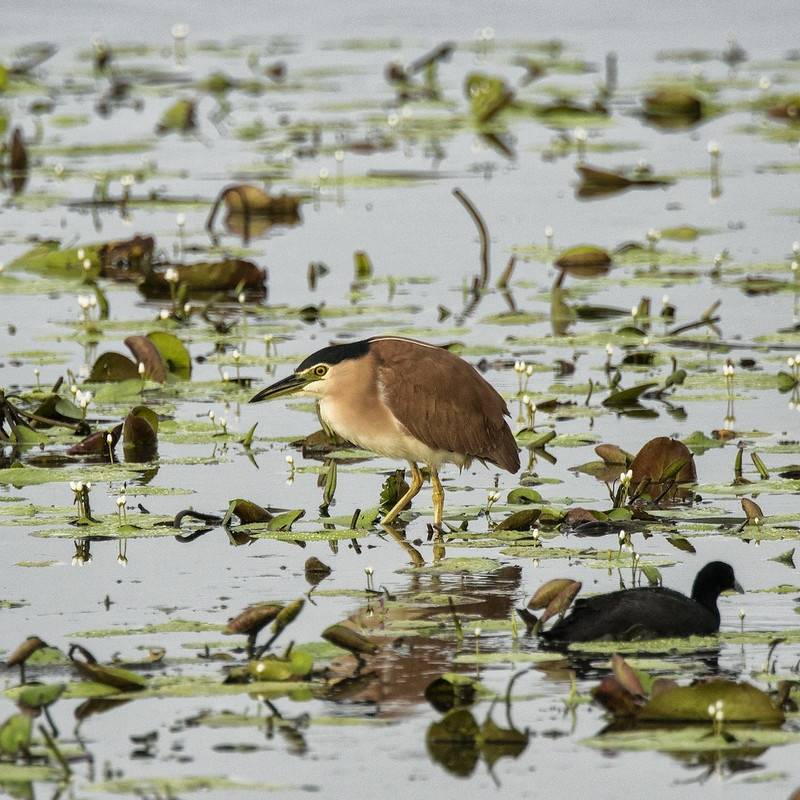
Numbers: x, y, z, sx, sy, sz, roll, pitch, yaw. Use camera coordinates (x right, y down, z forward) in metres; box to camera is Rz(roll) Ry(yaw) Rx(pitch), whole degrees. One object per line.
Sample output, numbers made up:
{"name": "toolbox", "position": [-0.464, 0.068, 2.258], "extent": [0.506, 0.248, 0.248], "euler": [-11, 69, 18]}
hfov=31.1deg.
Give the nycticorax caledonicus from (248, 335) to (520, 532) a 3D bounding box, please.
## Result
{"name": "nycticorax caledonicus", "position": [-0.008, 0.224, 8.688], "extent": [1.633, 1.184, 0.738], "euler": [0, 3, -25]}
